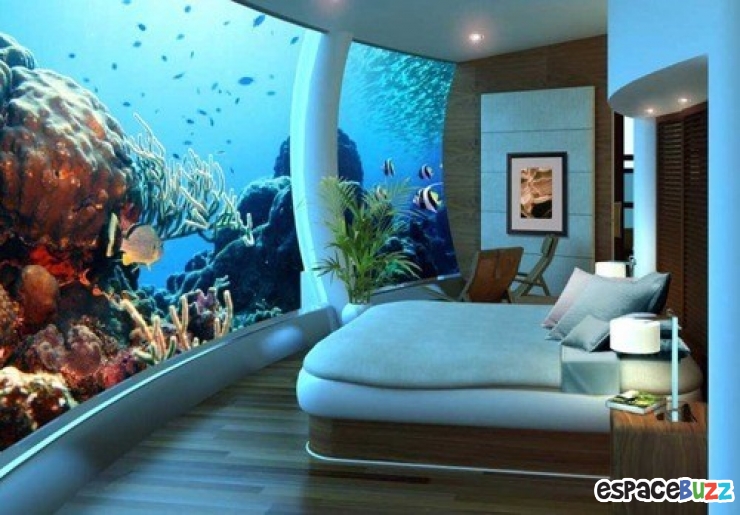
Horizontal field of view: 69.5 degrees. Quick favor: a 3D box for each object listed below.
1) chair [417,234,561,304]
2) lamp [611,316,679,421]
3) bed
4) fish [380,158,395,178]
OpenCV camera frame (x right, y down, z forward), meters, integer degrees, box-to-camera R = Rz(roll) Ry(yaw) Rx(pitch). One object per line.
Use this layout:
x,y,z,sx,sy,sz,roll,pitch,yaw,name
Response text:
1.362,0.228,6.656,0.960,0.913,1.324,-3,7,-31,chair
1.556,0.599,3.032,0.369,0.537,0.278,0,12,31,lamp
1.096,1.052,4.152,2.093,0.645,2.140,-10,-10,34,bed
0.289,-1.337,8.140,0.219,0.190,0.312,-5,21,9,fish
